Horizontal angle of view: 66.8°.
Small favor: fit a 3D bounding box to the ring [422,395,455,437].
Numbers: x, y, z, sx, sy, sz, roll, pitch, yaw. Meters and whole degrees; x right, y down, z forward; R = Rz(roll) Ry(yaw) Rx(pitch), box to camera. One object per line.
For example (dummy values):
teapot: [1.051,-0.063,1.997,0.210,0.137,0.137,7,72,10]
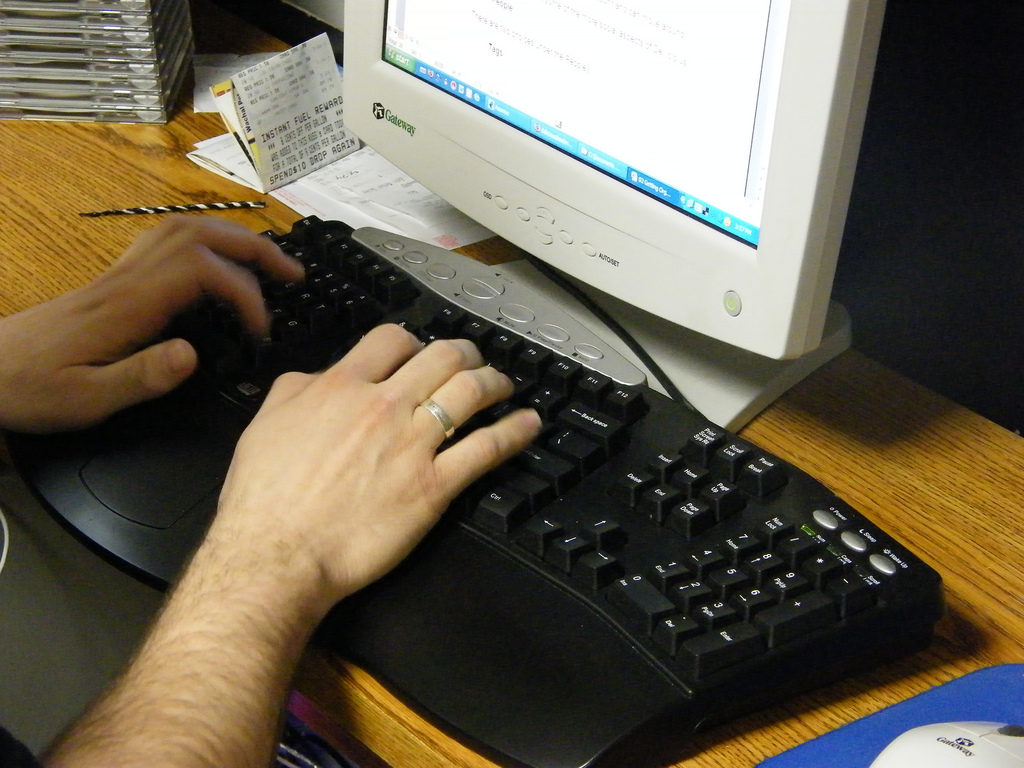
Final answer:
ring: [-0.053,0.024,0.571,0.024,0.025,0.024,0,66,0]
